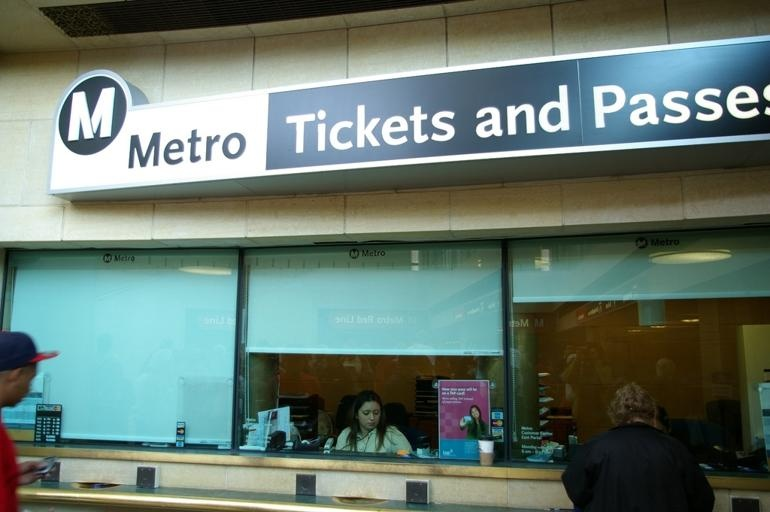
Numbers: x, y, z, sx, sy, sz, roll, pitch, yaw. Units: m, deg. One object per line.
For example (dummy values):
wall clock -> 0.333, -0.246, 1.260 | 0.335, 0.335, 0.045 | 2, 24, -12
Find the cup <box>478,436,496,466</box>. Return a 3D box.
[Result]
cup -> 1.090, 2.068, 7.342 | 0.169, 0.283, 0.138 | 2, -13, -11
